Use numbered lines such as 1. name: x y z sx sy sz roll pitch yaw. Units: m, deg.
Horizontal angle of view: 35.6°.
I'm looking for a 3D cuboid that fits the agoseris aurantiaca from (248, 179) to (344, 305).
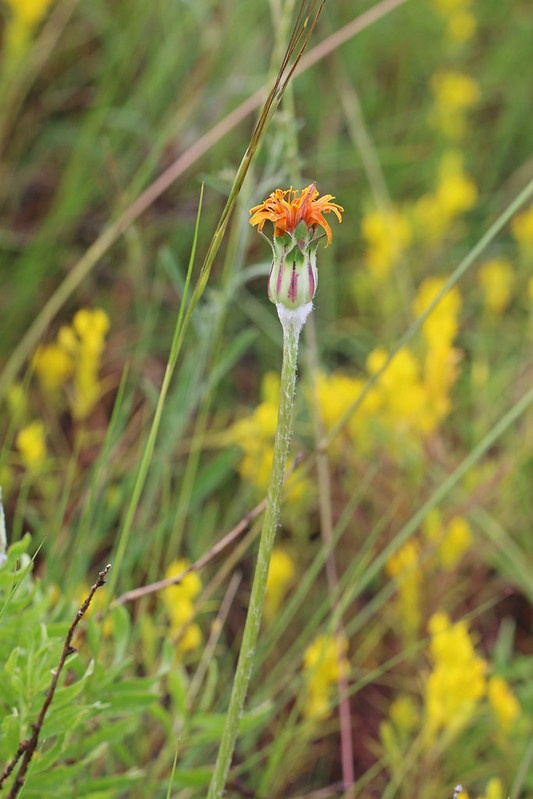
1. agoseris aurantiaca: 0.021 -0.122 0.700 0.084 0.085 0.099 -4 -92 -18
